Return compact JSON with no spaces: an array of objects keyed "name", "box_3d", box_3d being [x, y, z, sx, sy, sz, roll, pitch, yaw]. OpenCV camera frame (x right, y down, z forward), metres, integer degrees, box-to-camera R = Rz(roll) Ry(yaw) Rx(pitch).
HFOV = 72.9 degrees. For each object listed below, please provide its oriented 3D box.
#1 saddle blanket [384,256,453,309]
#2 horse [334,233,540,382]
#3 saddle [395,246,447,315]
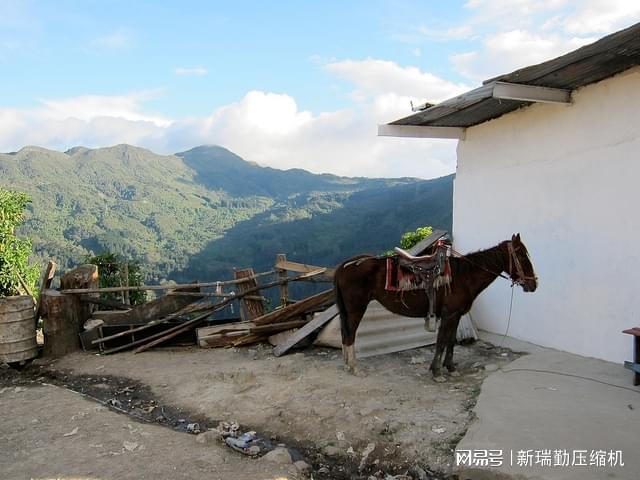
[{"name":"saddle blanket","box_3d":[1.559,0.615,7.224,1.130,0.290,0.633,0,34,2]},{"name":"horse","box_3d":[1.948,1.191,7.434,3.586,2.013,0.842,-2,-12,10]},{"name":"saddle","box_3d":[1.728,0.600,7.502,0.969,0.969,0.837,0,9,19]}]
